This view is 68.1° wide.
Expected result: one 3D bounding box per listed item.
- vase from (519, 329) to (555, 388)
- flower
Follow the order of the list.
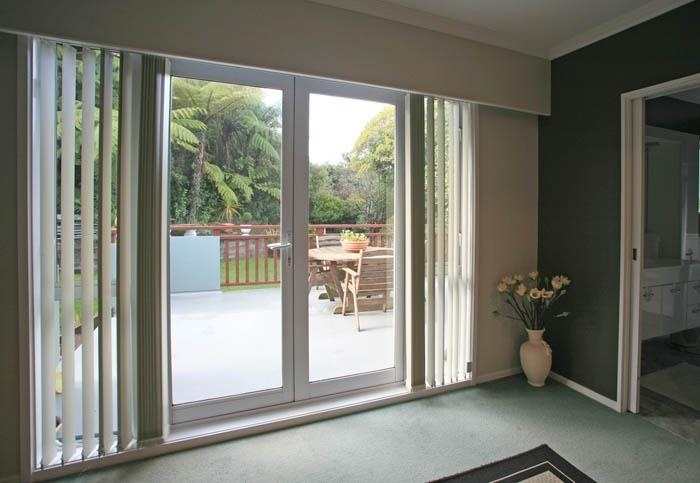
[{"bbox_3d":[1.743,1.050,4.796,0.326,0.515,0.254,-3,5,-5],"label":"vase"},{"bbox_3d":[1.667,0.547,4.842,0.590,0.567,0.554,-7,9,-28],"label":"flower"}]
